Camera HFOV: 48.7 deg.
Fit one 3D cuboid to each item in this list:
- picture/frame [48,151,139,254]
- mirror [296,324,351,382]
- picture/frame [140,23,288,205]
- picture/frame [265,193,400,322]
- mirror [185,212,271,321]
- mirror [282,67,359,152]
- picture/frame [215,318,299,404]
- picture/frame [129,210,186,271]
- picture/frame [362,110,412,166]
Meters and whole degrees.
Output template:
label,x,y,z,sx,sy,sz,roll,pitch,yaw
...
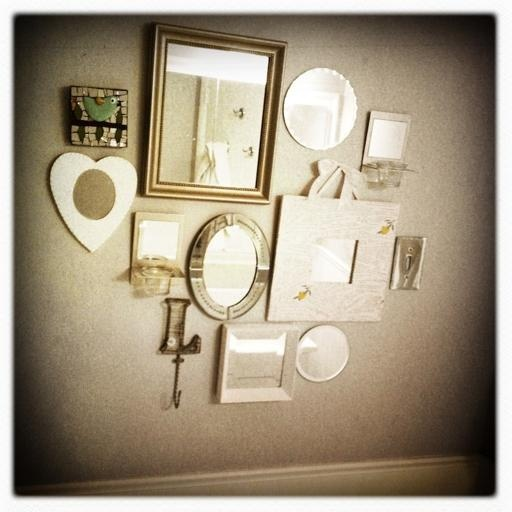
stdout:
label,x,y,z,sx,sy,sz,roll,pitch,yaw
picture/frame,-0.567,-0.197,1.935,0.293,0.400,0.037,-1,7,-27
mirror,0.264,0.412,2.295,0.222,0.266,0.005,-2,22,-4
picture/frame,-0.165,-0.516,1.962,0.536,0.736,0.048,1,13,-24
picture/frame,0.275,-0.009,2.194,0.425,0.471,0.034,2,11,-22
mirror,-0.094,0.040,2.101,0.309,0.458,0.022,0,22,-9
mirror,0.228,-0.557,2.096,0.259,0.312,0.022,-3,9,-11
picture/frame,-0.010,0.398,2.169,0.279,0.323,0.049,1,5,-17
picture/frame,-0.349,-0.057,2.021,0.175,0.224,0.014,1,32,-17
picture/frame,0.512,-0.458,2.210,0.151,0.203,0.007,9,-20,18
